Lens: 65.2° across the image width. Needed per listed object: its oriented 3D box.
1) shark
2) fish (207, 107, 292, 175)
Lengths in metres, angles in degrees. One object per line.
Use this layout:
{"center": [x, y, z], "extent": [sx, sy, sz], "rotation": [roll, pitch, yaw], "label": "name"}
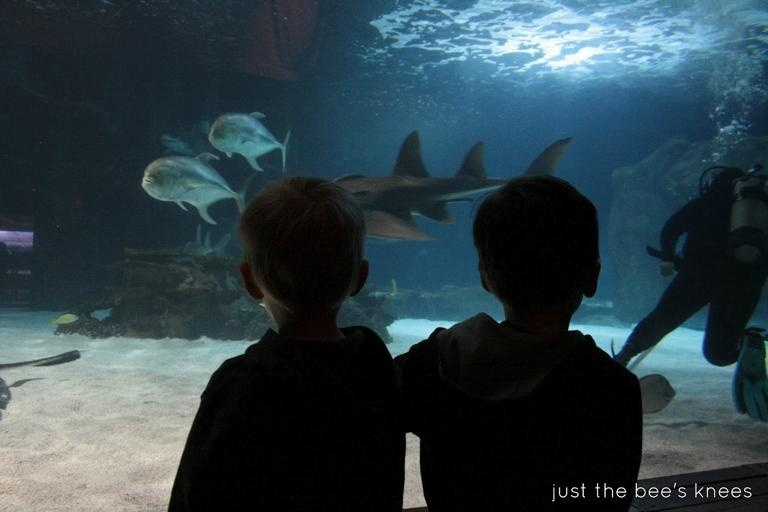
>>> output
{"center": [1.702, -2.333, 17.887], "extent": [6.849, 2.002, 4.898], "rotation": [-1, 16, 16], "label": "shark"}
{"center": [-4.029, -3.585, 18.355], "extent": [1.034, 1.524, 2.867], "rotation": [15, 4, 42], "label": "fish"}
